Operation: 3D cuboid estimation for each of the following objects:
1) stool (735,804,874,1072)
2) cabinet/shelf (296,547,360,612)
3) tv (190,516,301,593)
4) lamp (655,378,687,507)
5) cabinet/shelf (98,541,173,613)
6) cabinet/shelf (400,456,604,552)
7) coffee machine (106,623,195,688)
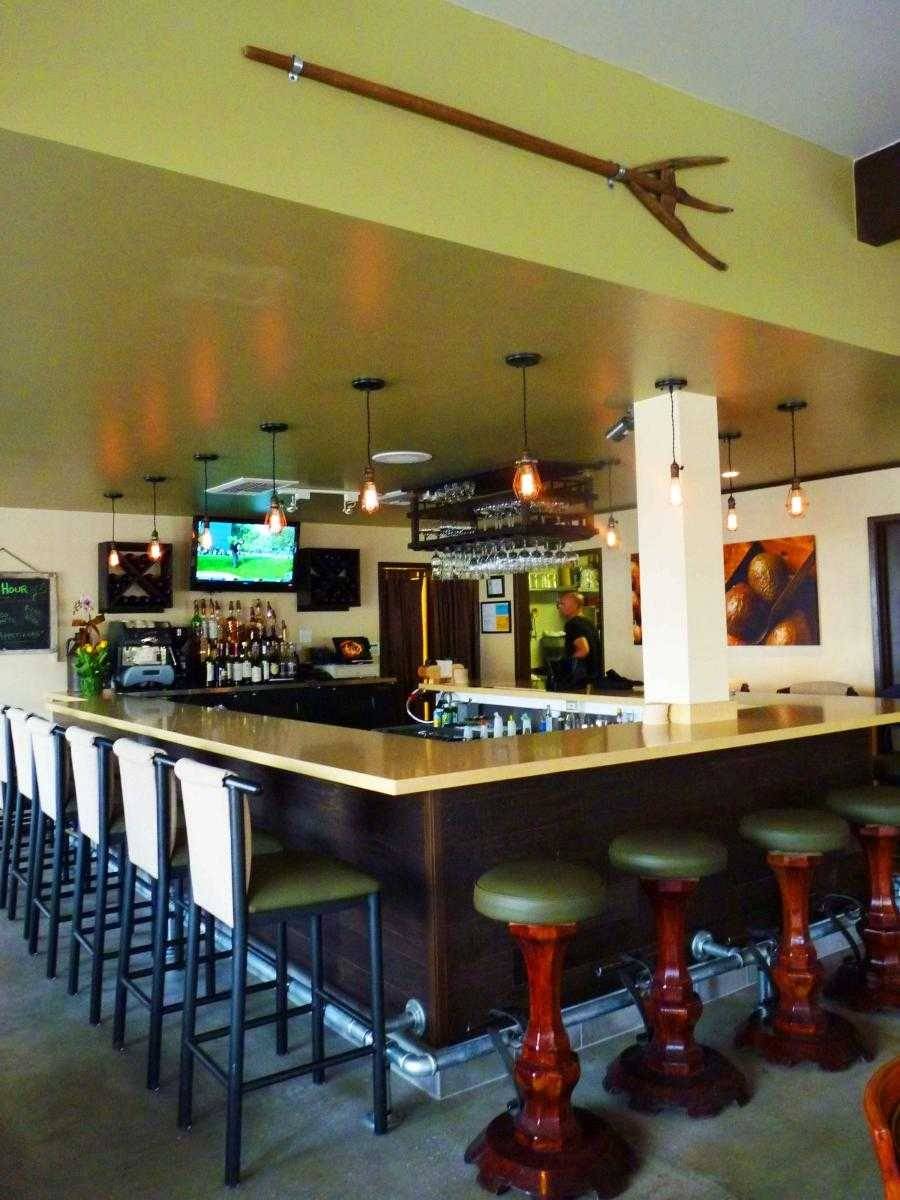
[{"bbox_3d":[1.085,1.027,2.930,0.376,0.709,0.343,-2,-3,22],"label":"stool"},{"bbox_3d":[-1.121,-0.189,8.504,0.578,0.512,0.213,2,-5,-36],"label":"cabinet/shelf"},{"bbox_3d":[-1.712,-0.368,7.706,0.672,0.444,0.066,-2,9,-34],"label":"tv"},{"bbox_3d":[0.926,-0.651,3.958,0.128,0.520,0.300,-1,-3,13],"label":"lamp"},{"bbox_3d":[-2.495,-0.173,7.430,0.586,0.570,0.180,-1,0,-42],"label":"cabinet/shelf"},{"bbox_3d":[0.302,-0.580,5.466,0.636,0.561,1.408,1,-3,-31],"label":"cabinet/shelf"},{"bbox_3d":[-2.239,0.444,7.319,0.796,0.507,0.540,1,-3,-37],"label":"coffee machine"}]
